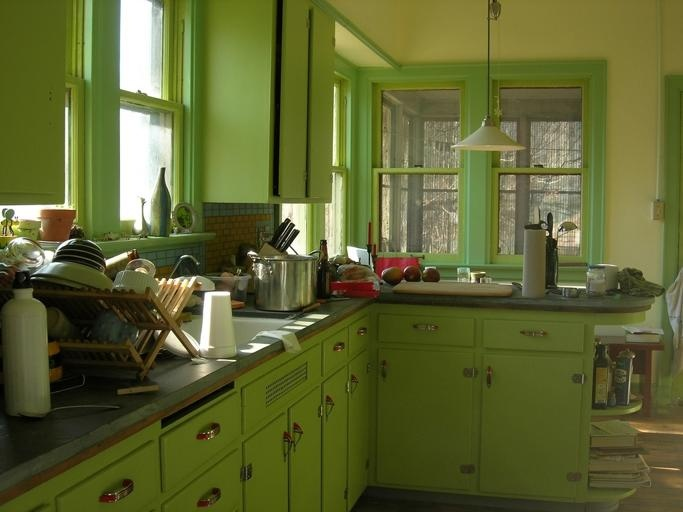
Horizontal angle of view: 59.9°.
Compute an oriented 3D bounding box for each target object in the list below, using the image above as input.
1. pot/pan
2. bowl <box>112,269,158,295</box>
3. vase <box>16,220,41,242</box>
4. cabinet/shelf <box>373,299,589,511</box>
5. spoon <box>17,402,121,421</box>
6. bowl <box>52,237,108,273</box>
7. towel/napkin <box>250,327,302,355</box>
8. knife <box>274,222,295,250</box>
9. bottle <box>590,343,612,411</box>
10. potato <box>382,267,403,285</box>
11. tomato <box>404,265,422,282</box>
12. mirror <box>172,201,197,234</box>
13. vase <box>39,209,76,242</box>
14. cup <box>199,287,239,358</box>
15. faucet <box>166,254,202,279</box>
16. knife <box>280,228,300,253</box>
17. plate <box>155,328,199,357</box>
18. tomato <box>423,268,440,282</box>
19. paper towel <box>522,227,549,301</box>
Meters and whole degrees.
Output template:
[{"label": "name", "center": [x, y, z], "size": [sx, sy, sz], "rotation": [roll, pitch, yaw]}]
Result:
[{"label": "pot/pan", "center": [-0.285, 0.119, 2.799], "size": [0.282, 0.271, 0.395], "rotation": [5, 7, 32]}, {"label": "bowl", "center": [-0.621, 0.084, 1.766], "size": [0.111, 0.077, 0.158], "rotation": [0, 3, -4]}, {"label": "vase", "center": [-1.190, -0.092, 2.245], "size": [0.079, 0.060, 0.081], "rotation": [4, 4, 23]}, {"label": "cabinet/shelf", "center": [0.757, 0.741, 3.420], "size": [1.193, 1.048, 0.607], "rotation": [2, 10, 8]}, {"label": "spoon", "center": [-0.672, 0.383, 1.447], "size": [0.165, 0.022, 0.039], "rotation": [2, 1, -27]}, {"label": "bowl", "center": [-0.831, -0.005, 1.892], "size": [0.128, 0.076, 0.130], "rotation": [16, 5, -1]}, {"label": "towel/napkin", "center": [-0.236, 0.314, 2.237], "size": [0.107, 0.048, 0.109], "rotation": [1, 1, 23]}, {"label": "knife", "center": [-0.322, -0.103, 3.319], "size": [0.096, 0.158, 0.040], "rotation": [30, -6, -9]}, {"label": "bottle", "center": [1.428, 0.654, 3.248], "size": [0.080, 0.352, 0.204], "rotation": [2, 3, 31]}, {"label": "potato", "center": [0.298, 0.122, 3.548], "size": [0.116, 0.092, 0.086], "rotation": [-6, -3, -5]}, {"label": "tomato", "center": [0.432, 0.112, 3.604], "size": [0.089, 0.109, 0.089], "rotation": [-2, -23, 7]}, {"label": "mirror", "center": [-0.792, -0.186, 2.974], "size": [0.117, 0.148, 0.096], "rotation": [-1, 3, -17]}, {"label": "vase", "center": [-1.122, -0.116, 2.331], "size": [0.138, 0.126, 0.142], "rotation": [1, 0, -3]}, {"label": "cup", "center": [-0.410, 0.228, 1.966], "size": [0.122, 0.206, 0.122], "rotation": [0, 3, 0]}, {"label": "faucet", "center": [-0.724, 0.057, 2.775], "size": [0.049, 0.126, 0.115], "rotation": [20, 1, 42]}, {"label": "knife", "center": [-0.294, -0.084, 3.345], "size": [0.098, 0.134, 0.033], "rotation": [37, 0, -5]}, {"label": "plate", "center": [-0.524, 0.280, 1.894], "size": [0.128, 0.102, 0.174], "rotation": [-1, 3, -14]}, {"label": "tomato", "center": [0.540, 0.124, 3.585], "size": [0.083, 0.083, 0.086], "rotation": [1, -5, 32]}, {"label": "paper towel", "center": [1.028, 0.034, 3.159], "size": [0.111, 0.385, 0.115], "rotation": [1, 3, 16]}]
